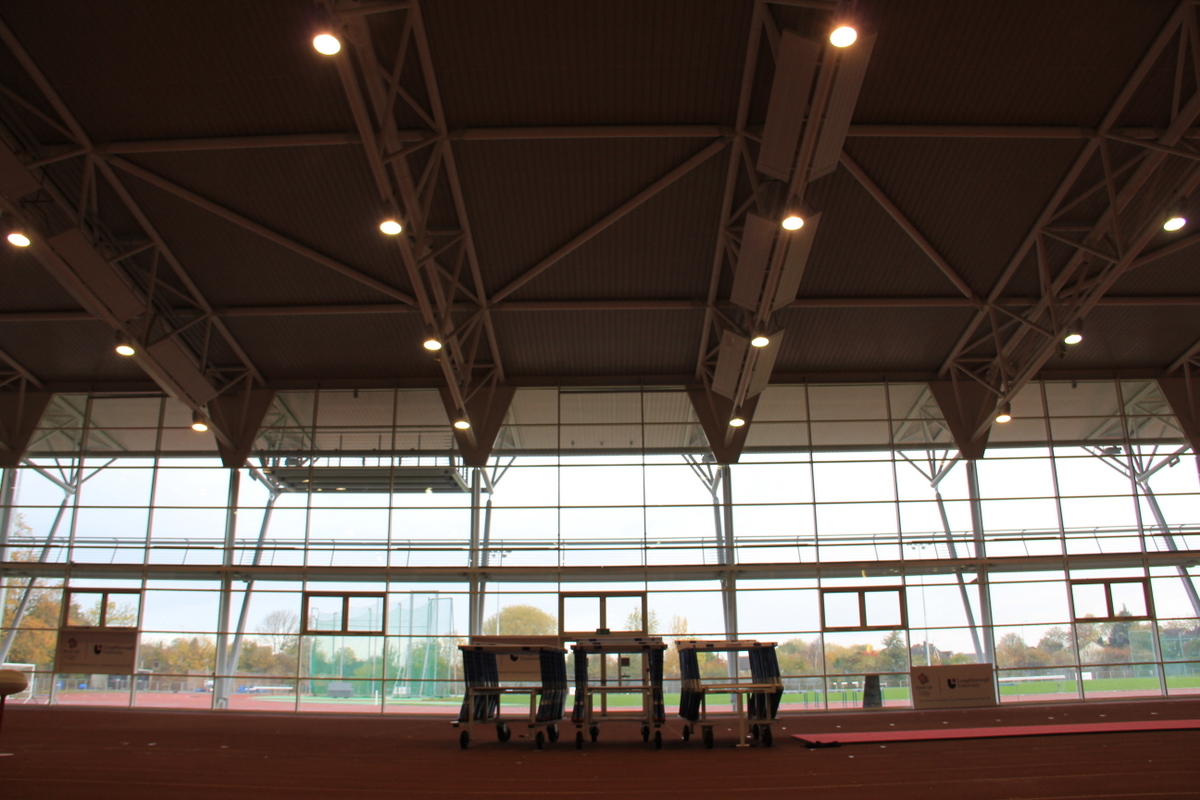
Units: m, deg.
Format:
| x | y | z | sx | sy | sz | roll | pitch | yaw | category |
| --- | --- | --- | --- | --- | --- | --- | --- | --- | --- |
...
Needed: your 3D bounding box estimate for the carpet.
| x | y | z | sx | sy | sz | roll | pitch | yaw | category |
| --- | --- | --- | --- | --- | --- | --- | --- | --- | --- |
| 8.147 | 6.997 | 18.936 | 8.105 | 0.476 | 1.841 | 1 | -23 | -4 | carpet |
